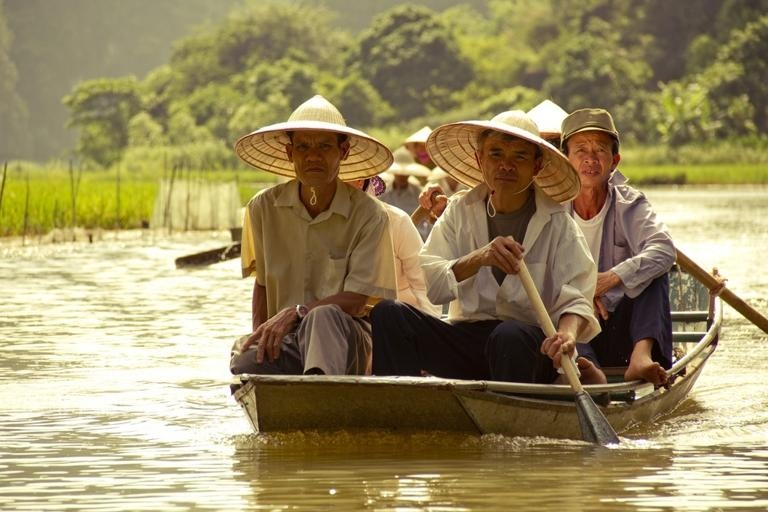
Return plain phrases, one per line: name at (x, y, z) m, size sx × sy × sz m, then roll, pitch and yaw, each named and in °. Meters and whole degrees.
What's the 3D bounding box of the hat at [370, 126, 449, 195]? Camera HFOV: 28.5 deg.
hat at (0.441, -1.660, 25.115) m, size 1.297 × 0.522 × 1.257 m, roll 0°, pitch -7°, yaw 2°
